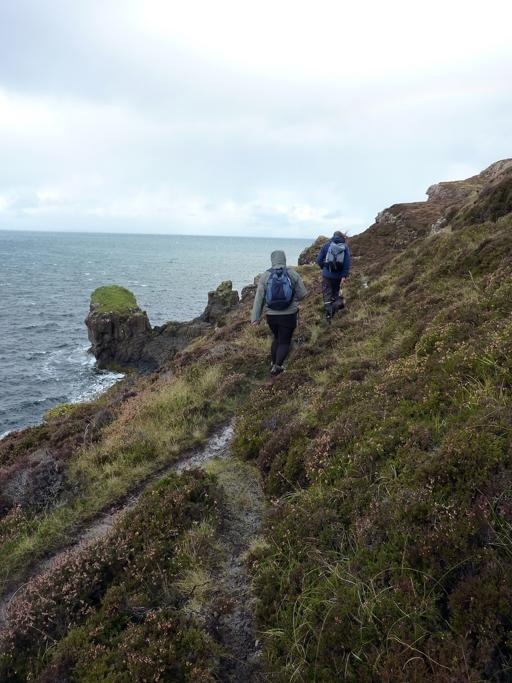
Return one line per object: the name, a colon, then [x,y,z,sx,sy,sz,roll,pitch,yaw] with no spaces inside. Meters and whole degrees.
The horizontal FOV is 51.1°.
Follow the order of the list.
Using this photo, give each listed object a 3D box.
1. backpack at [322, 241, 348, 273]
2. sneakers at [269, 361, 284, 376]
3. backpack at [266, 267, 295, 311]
backpack: [1.790,-1.911,12.180,0.477,0.710,0.375,17,17,0]
sneakers: [0.361,0.504,9.734,0.180,0.223,0.239,-6,-27,-2]
backpack: [0.391,-0.878,9.060,0.505,0.736,0.415,1,11,0]
